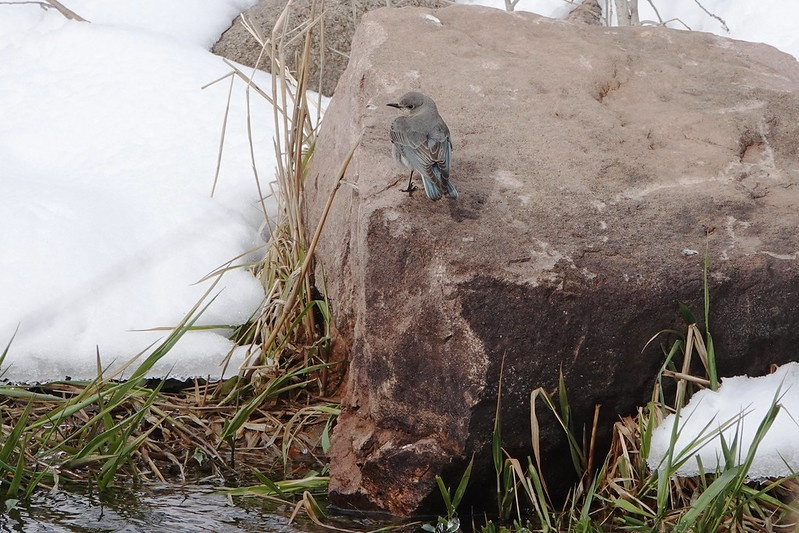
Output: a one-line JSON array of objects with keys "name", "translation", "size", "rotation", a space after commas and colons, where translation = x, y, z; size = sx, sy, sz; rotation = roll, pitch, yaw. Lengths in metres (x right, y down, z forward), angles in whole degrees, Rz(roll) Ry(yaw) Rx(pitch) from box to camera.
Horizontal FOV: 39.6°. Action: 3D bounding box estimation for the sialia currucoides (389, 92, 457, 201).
[{"name": "sialia currucoides", "translation": [0.173, -0.766, 7.231], "size": [0.361, 0.592, 0.789], "rotation": [-12, 36, -20]}]
